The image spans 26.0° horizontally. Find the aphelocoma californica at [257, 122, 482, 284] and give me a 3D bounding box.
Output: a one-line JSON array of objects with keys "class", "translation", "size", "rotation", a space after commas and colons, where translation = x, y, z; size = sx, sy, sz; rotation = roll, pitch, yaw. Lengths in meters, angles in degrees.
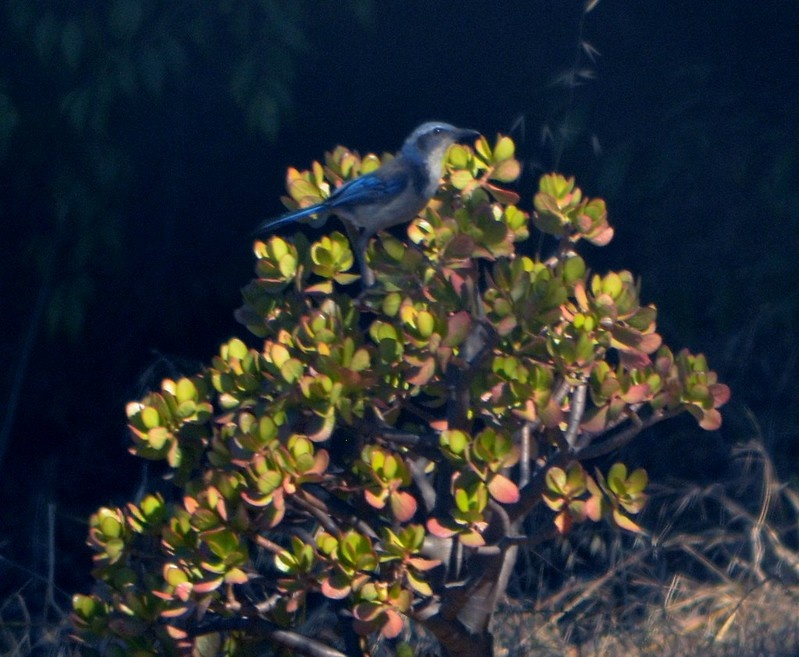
[{"class": "aphelocoma californica", "translation": [-0.113, -0.403, 5.474], "size": [0.671, 0.502, 0.239], "rotation": [0, 3, 11]}]
